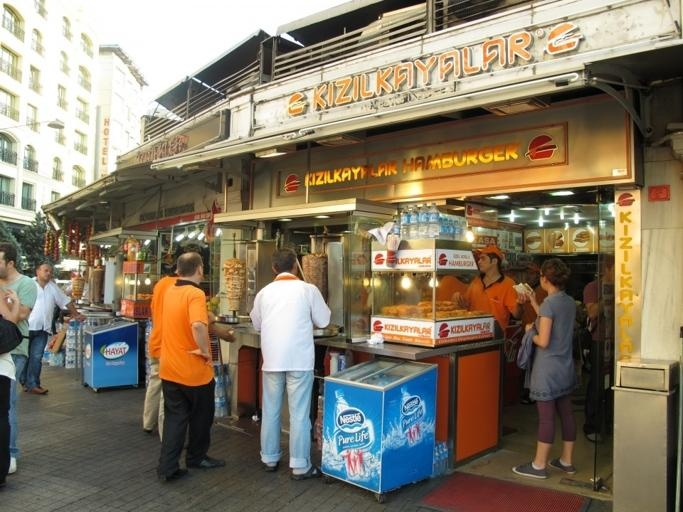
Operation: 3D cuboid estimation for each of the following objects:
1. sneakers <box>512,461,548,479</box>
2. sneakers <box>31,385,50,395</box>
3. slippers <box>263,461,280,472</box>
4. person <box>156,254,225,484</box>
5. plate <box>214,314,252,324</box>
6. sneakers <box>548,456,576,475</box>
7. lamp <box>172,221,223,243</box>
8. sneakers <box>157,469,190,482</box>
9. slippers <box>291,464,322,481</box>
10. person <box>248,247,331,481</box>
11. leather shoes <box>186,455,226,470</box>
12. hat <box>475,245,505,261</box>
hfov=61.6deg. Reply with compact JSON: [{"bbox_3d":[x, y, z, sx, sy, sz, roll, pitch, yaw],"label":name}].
[{"bbox_3d":[2.082,2.339,6.333,0.344,0.124,0.151,0,-5,31],"label":"sneakers"},{"bbox_3d":[-5.001,2.247,9.569,0.275,0.097,0.103,1,-1,4],"label":"sneakers"},{"bbox_3d":[-0.783,2.367,6.440,0.156,0.085,0.256,0,-1,-4],"label":"slippers"},{"bbox_3d":[-1.714,1.207,6.395,0.687,2.417,0.636,-2,7,-12],"label":"person"},{"bbox_3d":[-1.576,0.940,8.465,0.356,0.076,0.332,0,-2,31],"label":"plate"},{"bbox_3d":[2.473,2.345,6.419,0.130,0.092,0.269,2,2,-23],"label":"sneakers"},{"bbox_3d":[-2.885,-0.491,11.575,0.482,0.111,0.477,-12,-21,35],"label":"lamp"},{"bbox_3d":[-1.827,2.406,6.272,0.112,0.129,0.333,4,5,30],"label":"sneakers"},{"bbox_3d":[-0.376,2.344,6.266,0.304,0.114,0.135,2,-2,-36],"label":"slippers"},{"bbox_3d":[-0.586,1.185,6.421,0.789,2.464,0.655,1,7,15],"label":"person"},{"bbox_3d":[-1.533,2.346,6.574,0.466,0.162,0.149,-1,0,-16],"label":"leather shoes"},{"bbox_3d":[1.997,-0.048,7.672,0.334,0.154,0.199,5,-8,3],"label":"hat"}]
